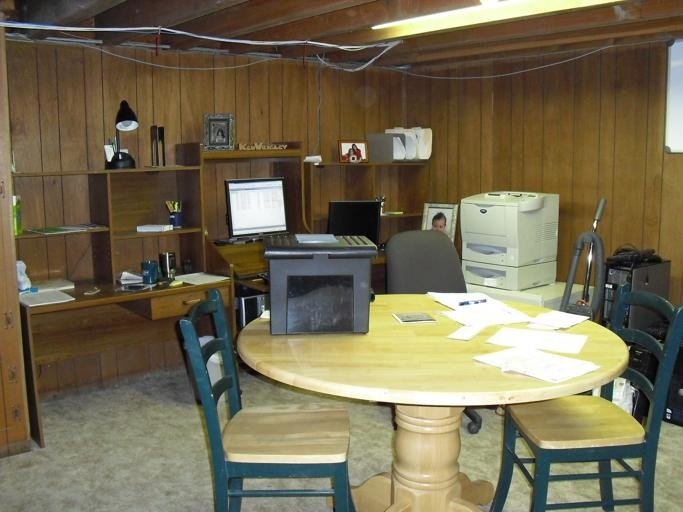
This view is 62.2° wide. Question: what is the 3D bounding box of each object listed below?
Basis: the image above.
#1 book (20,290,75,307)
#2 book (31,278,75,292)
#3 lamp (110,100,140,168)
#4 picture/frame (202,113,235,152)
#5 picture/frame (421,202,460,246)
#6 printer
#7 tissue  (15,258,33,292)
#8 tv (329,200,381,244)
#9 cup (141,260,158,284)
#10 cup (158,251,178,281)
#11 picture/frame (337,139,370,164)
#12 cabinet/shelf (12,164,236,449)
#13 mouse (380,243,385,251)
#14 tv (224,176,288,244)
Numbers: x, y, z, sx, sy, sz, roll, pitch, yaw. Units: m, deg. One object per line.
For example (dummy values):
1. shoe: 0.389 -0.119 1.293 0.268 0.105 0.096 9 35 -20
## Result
1. book: -1.877 0.251 3.565 0.286 0.039 0.346 -10 16 -36
2. book: -1.980 0.190 3.879 0.244 0.044 0.315 -8 15 -31
3. lamp: -1.557 -0.872 4.032 0.209 0.474 0.367 -5 13 -17
4. picture/frame: -0.940 -0.941 4.310 0.247 0.275 0.027 -9 16 -37
5. picture/frame: 0.850 -0.288 4.835 0.471 0.532 0.029 0 1 45
6. printer: 1.332 -0.124 4.508 0.652 0.706 0.698 5 10 37
7. tissue : -2.107 0.111 3.740 0.071 0.198 0.388 -8 15 -28
8. tv: 0.095 -0.277 4.378 0.397 0.443 0.030 -4 20 -11
9. cup: -1.347 0.098 3.977 0.117 0.151 0.191 -5 14 -19
10. cup: -1.269 0.056 4.116 0.119 0.173 0.333 -5 14 -18
11. picture/frame: 0.109 -0.942 5.104 0.253 0.178 0.026 -2 0 -31
12. cabinet/shelf: -1.548 0.251 3.975 1.425 1.595 0.547 -11 14 -26
13. mouse: 0.361 -0.084 4.994 0.064 0.073 0.084 -3 7 4
14. tv: -0.687 -0.364 4.426 0.556 0.480 0.067 -6 6 -29
